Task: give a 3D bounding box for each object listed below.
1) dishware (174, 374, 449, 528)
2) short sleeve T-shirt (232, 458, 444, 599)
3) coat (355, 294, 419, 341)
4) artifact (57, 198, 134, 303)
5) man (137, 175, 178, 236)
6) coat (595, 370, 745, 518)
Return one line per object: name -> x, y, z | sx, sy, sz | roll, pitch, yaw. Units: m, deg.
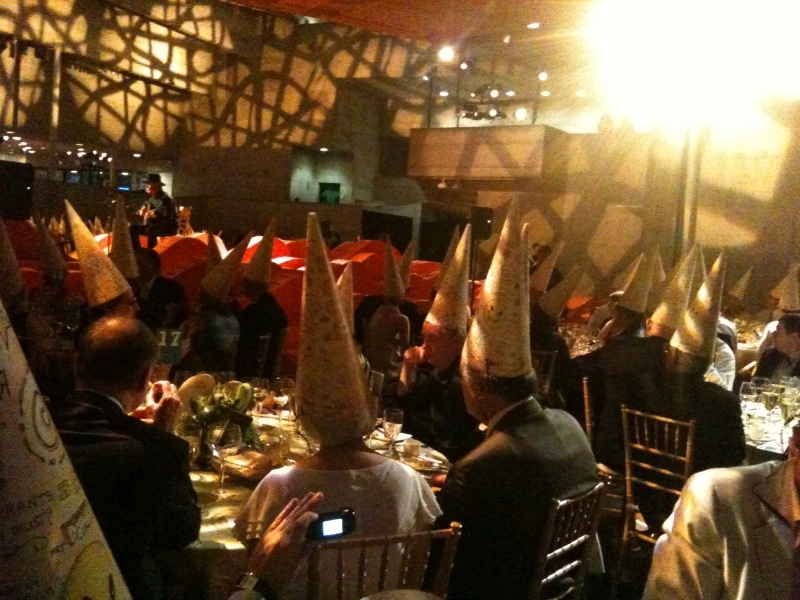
dishware -> -0.354, 0.528, 2.315 | 0.839, 0.583, 0.450 | -10, 14, -9
short sleeve T-shirt -> -0.107, 0.631, 1.870 | 0.580, 0.341, 0.299 | -4, 16, -29
coat -> -0.150, 0.146, 5.716 | 0.502, 0.447, 0.221 | 8, -30, 26
artifact -> -1.591, -0.241, 3.516 | 0.298, 0.566, 0.399 | -2, 16, -23
man -> -3.572, -1.415, 9.824 | 0.516, 0.880, 1.590 | -1, 12, -20
coat -> 1.359, 0.726, 3.362 | 0.517, 0.452, 0.395 | 0, 21, 8
